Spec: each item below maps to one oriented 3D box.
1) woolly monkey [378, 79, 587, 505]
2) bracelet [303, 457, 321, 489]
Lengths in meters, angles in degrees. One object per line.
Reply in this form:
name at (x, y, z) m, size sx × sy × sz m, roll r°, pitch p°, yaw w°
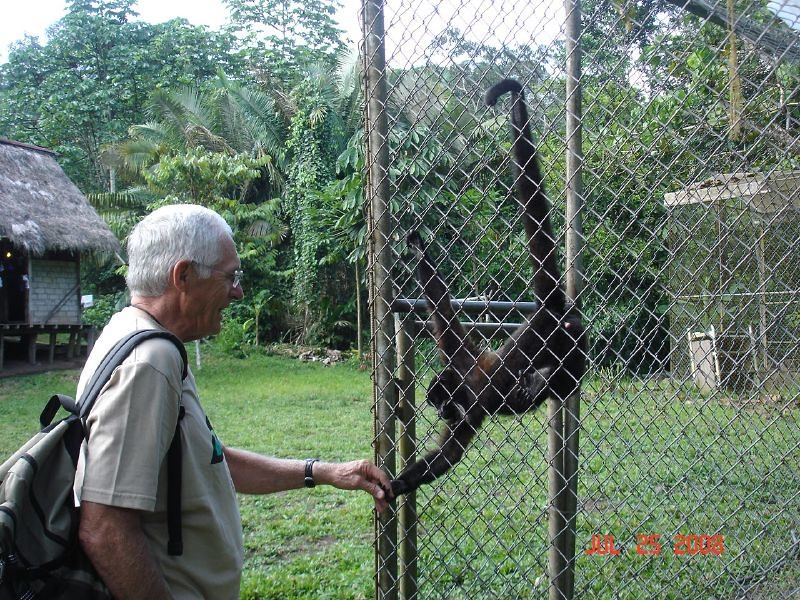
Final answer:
woolly monkey at (0.627, -0.069, 5.925) m, size 1.163 × 2.541 × 0.967 m, roll 1°, pitch -2°, yaw 13°
bracelet at (-0.542, 1.076, 5.632) m, size 0.092 × 0.161 × 0.152 m, roll -2°, pitch 0°, yaw 4°
